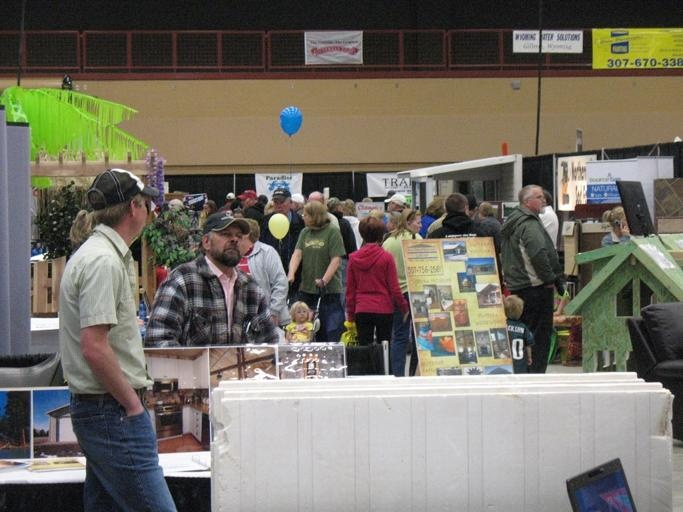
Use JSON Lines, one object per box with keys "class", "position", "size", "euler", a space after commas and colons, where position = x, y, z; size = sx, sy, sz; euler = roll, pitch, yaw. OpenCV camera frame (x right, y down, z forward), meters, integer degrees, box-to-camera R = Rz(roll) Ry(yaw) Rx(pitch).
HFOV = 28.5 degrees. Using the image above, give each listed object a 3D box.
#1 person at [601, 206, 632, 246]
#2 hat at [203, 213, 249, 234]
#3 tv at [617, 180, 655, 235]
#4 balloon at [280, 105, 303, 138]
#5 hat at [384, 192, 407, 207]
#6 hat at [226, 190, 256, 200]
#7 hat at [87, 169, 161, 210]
{"class": "person", "position": [4.326, -0.381, 21.109], "size": [0.334, 0.772, 0.719], "euler": [-1, 0, 31]}
{"class": "hat", "position": [-1.491, -0.356, 16.847], "size": [0.268, 0.171, 0.414], "euler": [4, -9, -42]}
{"class": "tv", "position": [4.407, -0.698, 20.141], "size": [0.208, 0.713, 0.661], "euler": [-22, -3, 30]}
{"class": "balloon", "position": [-1.078, -2.886, 29.045], "size": [0.584, 0.843, 0.633], "euler": [0, 1, -2]}
{"class": "hat", "position": [0.869, -0.950, 22.873], "size": [0.405, 0.253, 0.320], "euler": [2, 2, 14]}
{"class": "hat", "position": [-2.092, -1.267, 28.027], "size": [0.601, 0.266, 0.392], "euler": [5, -7, -34]}
{"class": "hat", "position": [-2.677, -0.793, 16.087], "size": [0.683, 0.448, 0.474], "euler": [-20, 13, -20]}
